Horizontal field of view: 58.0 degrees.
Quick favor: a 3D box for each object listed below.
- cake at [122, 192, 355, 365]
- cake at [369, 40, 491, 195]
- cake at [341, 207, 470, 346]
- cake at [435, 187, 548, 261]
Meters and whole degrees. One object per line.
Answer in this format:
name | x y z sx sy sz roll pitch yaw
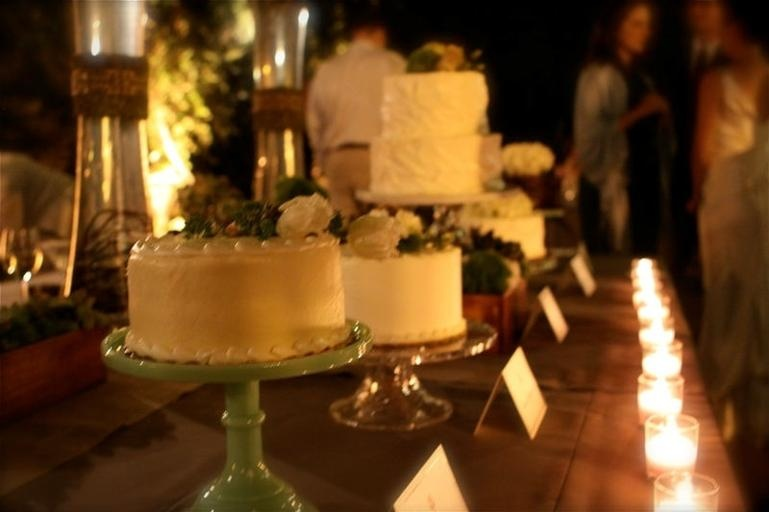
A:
cake | -0.378 0.068 1.802 0.449 0.323 0.452 -1 2 10
cake | 0.121 -0.380 2.069 0.379 0.430 0.389 -2 6 -18
cake | 0.061 0.059 2.285 0.388 0.409 0.416 -3 4 -3
cake | 0.406 -0.100 2.249 0.217 0.161 0.220 -1 -2 -18
